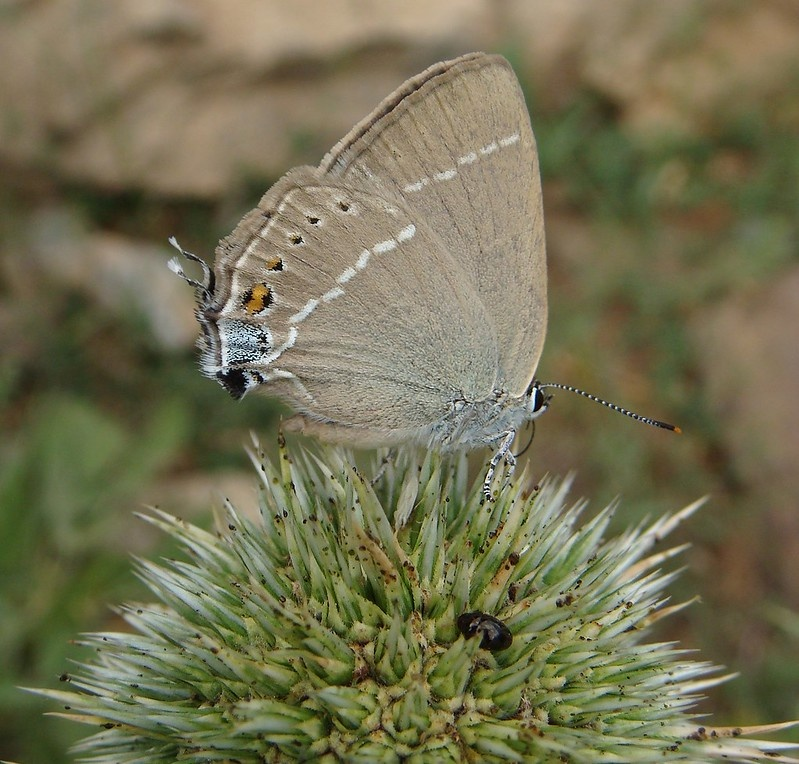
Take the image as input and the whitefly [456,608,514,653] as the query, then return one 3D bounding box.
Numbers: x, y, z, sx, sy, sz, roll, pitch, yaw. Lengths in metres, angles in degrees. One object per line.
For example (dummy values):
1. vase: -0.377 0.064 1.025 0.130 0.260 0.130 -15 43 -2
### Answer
1. whitefly: 0.359 1.024 4.982 0.196 0.183 0.052 40 118 8
